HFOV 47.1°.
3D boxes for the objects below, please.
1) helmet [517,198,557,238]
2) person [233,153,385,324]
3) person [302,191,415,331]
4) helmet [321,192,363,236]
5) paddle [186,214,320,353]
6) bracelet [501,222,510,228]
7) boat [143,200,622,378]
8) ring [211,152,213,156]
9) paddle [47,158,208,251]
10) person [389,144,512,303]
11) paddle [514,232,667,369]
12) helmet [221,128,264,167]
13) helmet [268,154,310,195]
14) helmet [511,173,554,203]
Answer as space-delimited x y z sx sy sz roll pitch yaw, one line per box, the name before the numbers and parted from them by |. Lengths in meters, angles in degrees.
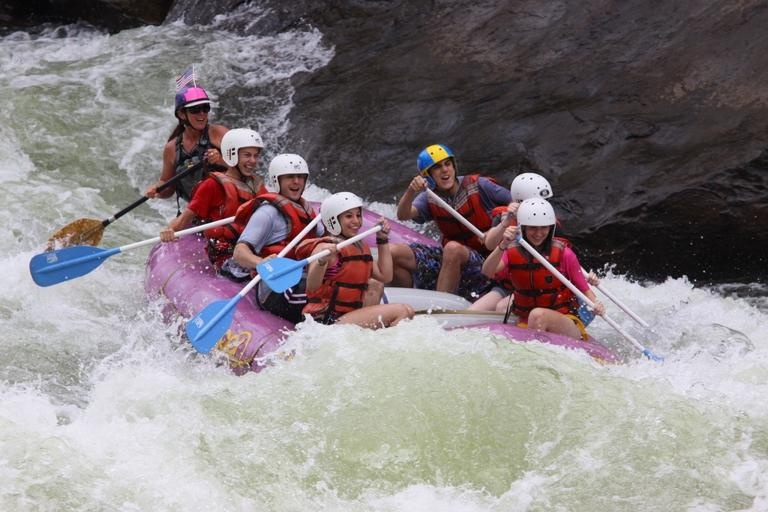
helmet | 1.257 -0.362 7.329 0.223 0.268 0.283 -2 12 -7
person | -0.880 0.018 7.795 1.031 1.795 1.007 -1 9 -27
person | -0.206 0.168 7.333 1.064 1.327 0.931 1 9 0
helmet | -0.372 -0.346 7.432 0.407 0.312 0.324 -8 0 38
paddle | -1.075 0.252 7.427 1.858 0.310 0.149 -37 8 -19
bracelet | 1.037 -0.278 7.527 0.058 0.055 0.014 4 67 -9
boat | 0.554 0.784 8.842 2.017 0.579 3.733 32 -20 -14
ring | -1.650 -0.987 8.431 0.035 0.031 0.011 -2 3 4
paddle | -2.725 -0.519 9.237 1.343 0.265 0.056 -25 29 -8
person | 0.550 -0.253 8.297 1.374 1.562 0.966 -9 5 -26
paddle | 1.827 0.406 7.717 1.622 0.224 0.173 37 32 8
helmet | -1.326 -0.986 8.095 0.410 0.288 0.313 -2 2 7
helmet | -0.883 -0.764 7.850 0.315 0.298 0.411 -3 5 -30
helmet | 1.292 -0.603 7.802 0.328 0.252 0.241 -24 -5 35
